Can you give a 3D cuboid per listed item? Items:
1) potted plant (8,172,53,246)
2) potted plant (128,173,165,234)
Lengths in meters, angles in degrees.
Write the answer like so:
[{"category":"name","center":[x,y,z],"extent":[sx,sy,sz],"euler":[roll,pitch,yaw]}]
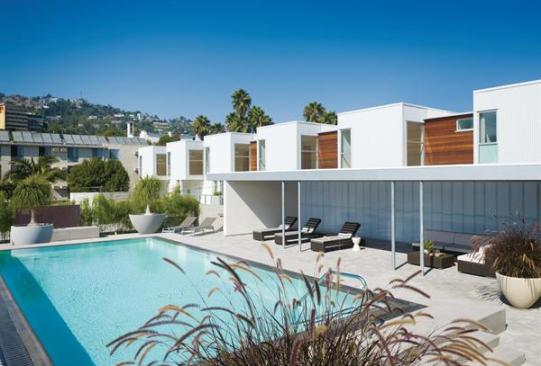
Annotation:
[{"category":"potted plant","center":[-9.841,1.143,17.665],"extent":[1.513,2.918,1.664],"euler":[1,-3,-14]},{"category":"potted plant","center":[-5.936,0.978,20.646],"extent":[1.475,2.758,1.530],"euler":[1,-3,-24]}]
